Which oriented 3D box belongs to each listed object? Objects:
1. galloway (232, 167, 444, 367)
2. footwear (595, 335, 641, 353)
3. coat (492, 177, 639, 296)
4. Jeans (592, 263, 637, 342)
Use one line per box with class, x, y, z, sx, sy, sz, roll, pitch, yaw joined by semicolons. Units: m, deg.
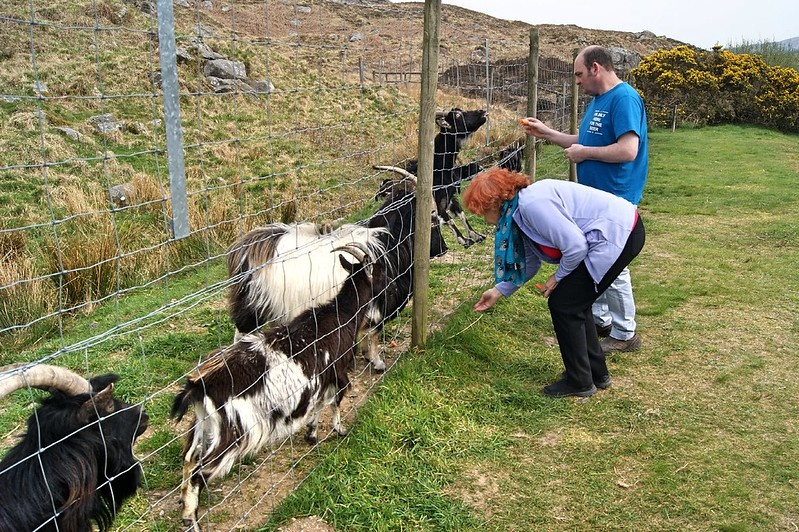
galloway;-0.686;0.166;7.896;2.830;2.317;1.086;-7;9;5
footwear;2.692;0.966;8.312;0.510;0.246;0.209;-1;10;-4
coat;2.015;-0.054;7.315;1.165;1.236;1.319;11;2;3
Jeans;2.490;0.451;7.851;0.329;1.008;0.512;-21;35;-31
